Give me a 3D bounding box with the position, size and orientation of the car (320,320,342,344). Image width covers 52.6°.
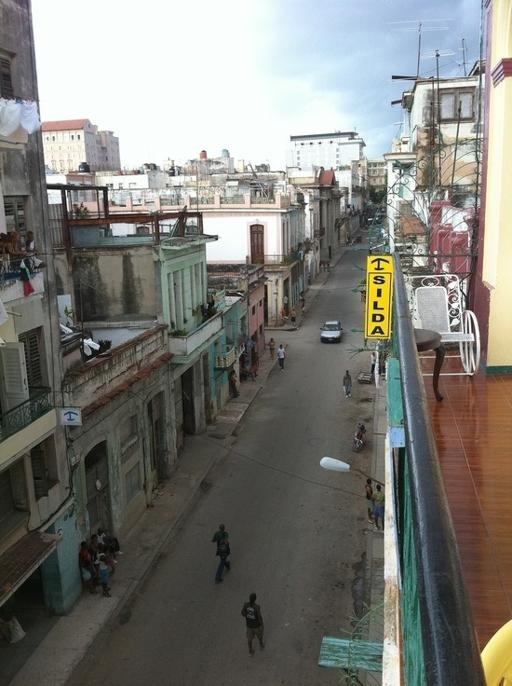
[{"bbox_3d":[5.752,-0.757,39.385,1.202,1.324,3.057,-2,4,7],"label":"car"}]

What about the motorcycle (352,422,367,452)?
[{"bbox_3d":[4.577,4.246,22.797,0.525,0.832,1.143,-3,-11,12],"label":"motorcycle"}]

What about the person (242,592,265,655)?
[{"bbox_3d":[-0.059,6.743,12.517,0.480,1.486,0.666,-1,12,-1],"label":"person"}]

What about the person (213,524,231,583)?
[{"bbox_3d":[-1.011,6.040,15.624,0.486,1.669,1.449,-2,13,-4],"label":"person"}]

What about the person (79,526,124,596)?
[{"bbox_3d":[-4.563,6.224,14.998,0.848,1.434,1.696,-3,13,-8],"label":"person"}]

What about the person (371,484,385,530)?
[{"bbox_3d":[4.013,5.372,17.116,0.399,1.532,0.436,-3,14,-12],"label":"person"}]
